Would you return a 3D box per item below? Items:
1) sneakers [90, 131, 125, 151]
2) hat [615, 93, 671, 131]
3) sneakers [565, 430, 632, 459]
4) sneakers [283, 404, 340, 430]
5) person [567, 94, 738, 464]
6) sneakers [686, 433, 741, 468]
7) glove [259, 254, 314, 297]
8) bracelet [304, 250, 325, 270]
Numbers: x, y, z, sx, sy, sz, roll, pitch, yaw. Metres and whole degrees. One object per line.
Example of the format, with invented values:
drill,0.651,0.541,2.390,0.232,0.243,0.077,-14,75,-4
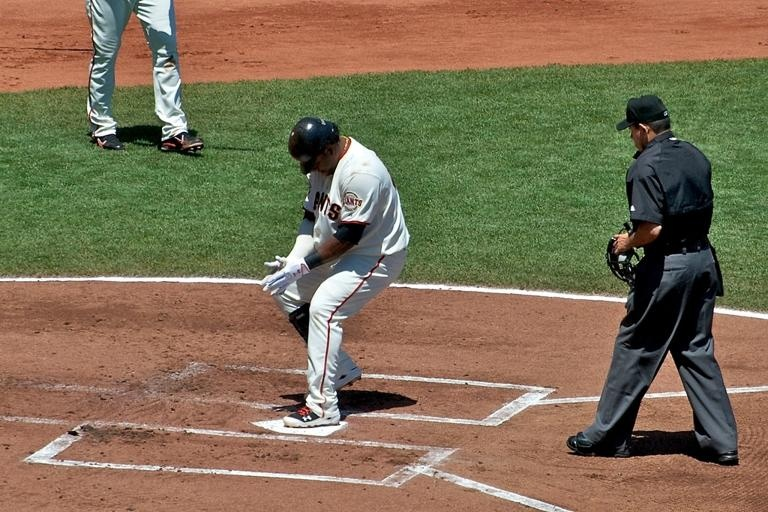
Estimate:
sneakers,-4.586,-1.872,19.375,0.689,0.212,0.241,10,31,25
hat,2.647,-1.483,12.170,0.603,0.254,0.381,-7,13,23
sneakers,2.215,1.958,12.168,0.600,0.197,0.266,6,8,4
sneakers,-0.786,1.740,12.675,0.700,0.219,0.215,1,5,-4
person,2.866,0.251,12.107,1.535,3.710,1.134,0,17,9
sneakers,3.356,2.012,12.176,0.623,0.225,0.213,6,21,30
glove,-1.041,0.212,12.601,0.528,0.342,0.200,-37,-7,5
bracelet,-0.782,0.054,12.515,0.290,0.156,0.097,-15,42,23
